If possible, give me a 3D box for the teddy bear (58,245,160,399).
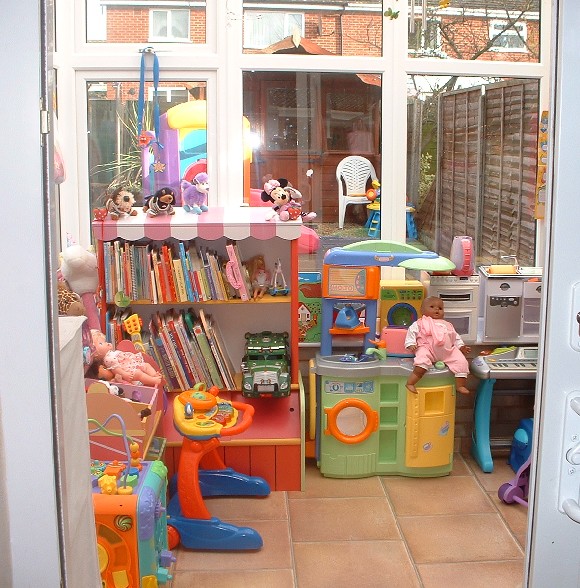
[{"bbox_3d":[-0.870,0.096,2.920,0.354,0.609,0.796,-5,12,-29],"label":"teddy bear"}]

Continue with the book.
[{"bbox_3d":[-0.637,0.095,3.203,0.754,0.816,0.278,0,7,-7],"label":"book"}]

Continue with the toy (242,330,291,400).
[{"bbox_3d":[-0.127,0.363,3.314,0.256,0.245,0.531,0,22,-1],"label":"toy"}]

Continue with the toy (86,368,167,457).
[{"bbox_3d":[-0.676,0.495,2.471,0.302,0.206,0.321,0,6,1],"label":"toy"}]

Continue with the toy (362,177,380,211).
[{"bbox_3d":[0.507,-0.611,3.649,0.116,0.161,0.160,0,7,3],"label":"toy"}]

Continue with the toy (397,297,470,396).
[{"bbox_3d":[0.804,0.270,3.284,0.315,0.610,0.234,4,-27,4],"label":"toy"}]

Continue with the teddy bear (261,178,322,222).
[{"bbox_3d":[-0.022,-0.509,3.210,0.236,0.288,0.183,-18,4,-8],"label":"teddy bear"}]

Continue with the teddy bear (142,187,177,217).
[{"bbox_3d":[-0.681,-0.497,3.194,0.106,0.103,0.195,-2,6,-18],"label":"teddy bear"}]

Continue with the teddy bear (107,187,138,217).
[{"bbox_3d":[-0.921,-0.480,3.264,0.166,0.160,0.205,1,2,-42],"label":"teddy bear"}]
